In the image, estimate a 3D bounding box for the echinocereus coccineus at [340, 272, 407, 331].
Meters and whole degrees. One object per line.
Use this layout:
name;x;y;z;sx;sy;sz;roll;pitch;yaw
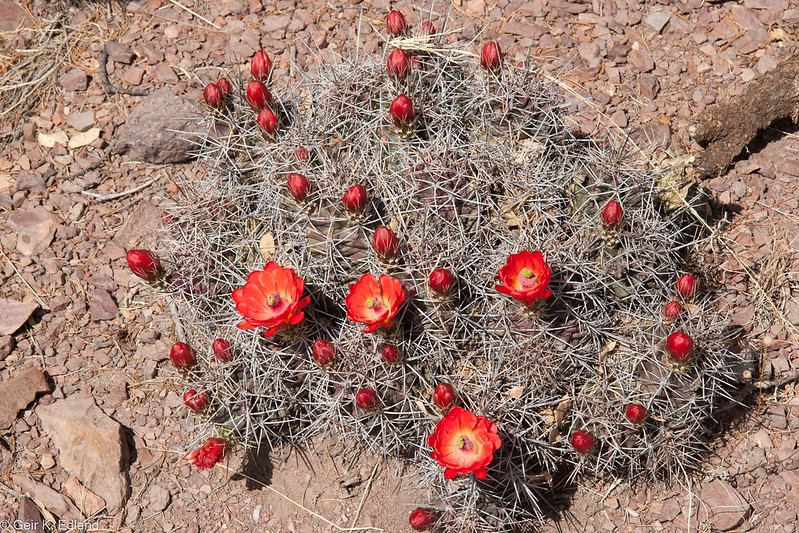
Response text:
echinocereus coccineus;-0.145;0.253;4.735;0.369;0.313;0.378;37;91;24

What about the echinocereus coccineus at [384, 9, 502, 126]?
echinocereus coccineus;0.241;-1.630;5.605;0.936;0.380;0.958;-15;81;-4

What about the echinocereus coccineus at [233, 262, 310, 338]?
echinocereus coccineus;-0.859;0.200;4.628;0.490;0.168;0.451;-25;78;-4

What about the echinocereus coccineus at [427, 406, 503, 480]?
echinocereus coccineus;0.404;1.102;4.491;0.440;0.124;0.387;-37;79;-7

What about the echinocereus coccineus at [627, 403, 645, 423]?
echinocereus coccineus;1.599;0.993;4.788;0.118;0.121;0.095;15;68;-8

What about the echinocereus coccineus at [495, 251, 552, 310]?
echinocereus coccineus;0.798;0.050;4.578;0.361;0.149;0.300;-1;77;1

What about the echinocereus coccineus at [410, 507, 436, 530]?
echinocereus coccineus;0.158;1.774;4.950;0.176;0.169;0.153;2;77;2

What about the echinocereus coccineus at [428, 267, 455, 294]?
echinocereus coccineus;0.279;0.102;4.795;0.167;0.218;0.162;28;79;8

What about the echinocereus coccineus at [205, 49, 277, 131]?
echinocereus coccineus;-1.127;-1.287;5.321;0.607;0.269;0.649;4;102;26

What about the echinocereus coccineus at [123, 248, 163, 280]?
echinocereus coccineus;-1.860;-0.038;5.139;0.172;0.249;0.158;-33;33;8

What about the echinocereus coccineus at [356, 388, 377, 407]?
echinocereus coccineus;-0.226;0.893;4.757;0.140;0.126;0.134;0;77;1

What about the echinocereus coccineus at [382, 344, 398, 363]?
echinocereus coccineus;-0.064;0.587;4.818;0.096;0.094;0.120;-4;110;33

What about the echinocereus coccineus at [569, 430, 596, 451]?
echinocereus coccineus;1.254;1.203;4.858;0.150;0.159;0.152;18;78;6
